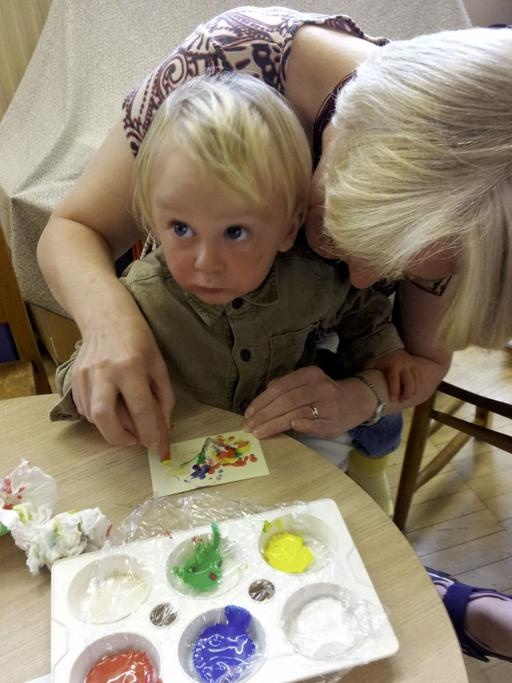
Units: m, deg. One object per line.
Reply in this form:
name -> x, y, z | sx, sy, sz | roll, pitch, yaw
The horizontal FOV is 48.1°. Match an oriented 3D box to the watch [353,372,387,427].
watch -> 0.195, 0.101, 0.980 | 0.025, 0.072, 0.080 | -16, -2, -23

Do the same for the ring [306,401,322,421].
ring -> 0.087, 0.105, 0.865 | 0.020, 0.025, 0.010 | -6, -6, -11
